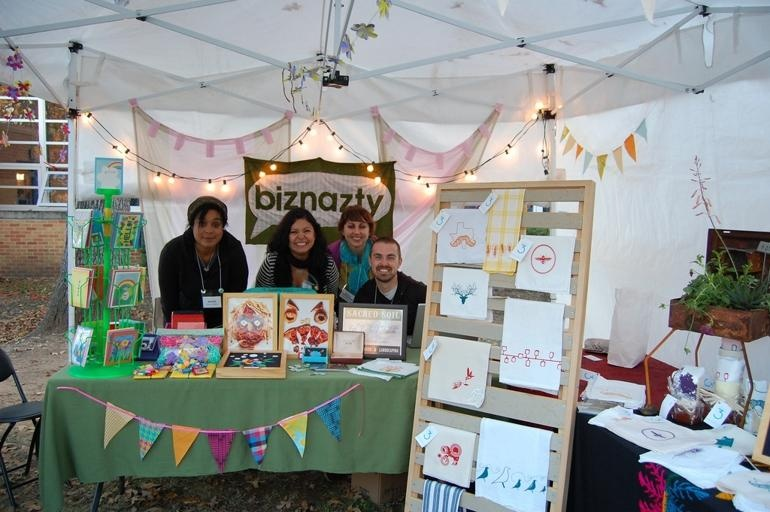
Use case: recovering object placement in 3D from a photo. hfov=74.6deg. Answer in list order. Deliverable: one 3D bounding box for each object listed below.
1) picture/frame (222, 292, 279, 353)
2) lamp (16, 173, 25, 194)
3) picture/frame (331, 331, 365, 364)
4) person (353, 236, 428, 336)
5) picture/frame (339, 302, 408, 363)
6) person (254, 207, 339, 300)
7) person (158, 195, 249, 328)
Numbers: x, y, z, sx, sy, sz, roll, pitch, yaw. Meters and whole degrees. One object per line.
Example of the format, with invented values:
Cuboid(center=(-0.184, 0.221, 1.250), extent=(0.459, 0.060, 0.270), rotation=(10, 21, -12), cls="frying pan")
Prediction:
Cuboid(center=(-1.012, 0.500, 3.767), extent=(0.420, 0.511, 0.019), rotation=(0, -3, -6), cls="picture/frame")
Cuboid(center=(-8.634, -1.804, 11.964), extent=(0.262, 0.424, 0.130), rotation=(2, 1, 9), cls="lamp")
Cuboid(center=(-0.277, 0.679, 3.784), extent=(0.285, 0.277, 0.211), rotation=(1, -5, -2), cls="picture/frame")
Cuboid(center=(0.044, 0.322, 4.625), extent=(0.703, 0.860, 0.551), rotation=(6, -5, -2), cls="person")
Cuboid(center=(-0.097, 0.594, 3.838), extent=(0.415, 0.356, 0.039), rotation=(1, -6, 0), cls="picture/frame")
Cuboid(center=(-0.935, -0.018, 5.146), extent=(0.999, 1.054, 0.553), rotation=(1, 3, -17), cls="person")
Cuboid(center=(-1.829, 0.053, 5.128), extent=(0.855, 1.340, 0.492), rotation=(2, 1, -24), cls="person")
